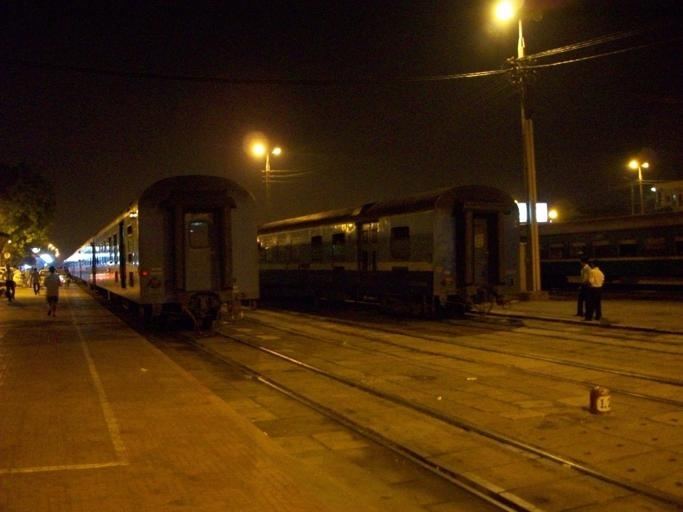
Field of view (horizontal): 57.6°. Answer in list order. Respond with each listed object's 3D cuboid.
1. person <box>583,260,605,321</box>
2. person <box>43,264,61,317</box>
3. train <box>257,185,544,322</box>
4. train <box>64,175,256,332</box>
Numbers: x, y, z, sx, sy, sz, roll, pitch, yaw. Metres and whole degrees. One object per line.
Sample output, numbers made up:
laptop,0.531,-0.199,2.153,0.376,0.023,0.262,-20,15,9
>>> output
person,7.120,0.983,17.376,0.447,1.661,1.186,4,5,23
person,-9.600,1.130,20.885,0.795,1.702,0.811,3,7,-17
train,0.236,0.041,25.375,3.218,3.963,16.534,1,-2,-29
train,-6.373,-0.342,21.569,3.345,3.524,14.682,0,2,-24
